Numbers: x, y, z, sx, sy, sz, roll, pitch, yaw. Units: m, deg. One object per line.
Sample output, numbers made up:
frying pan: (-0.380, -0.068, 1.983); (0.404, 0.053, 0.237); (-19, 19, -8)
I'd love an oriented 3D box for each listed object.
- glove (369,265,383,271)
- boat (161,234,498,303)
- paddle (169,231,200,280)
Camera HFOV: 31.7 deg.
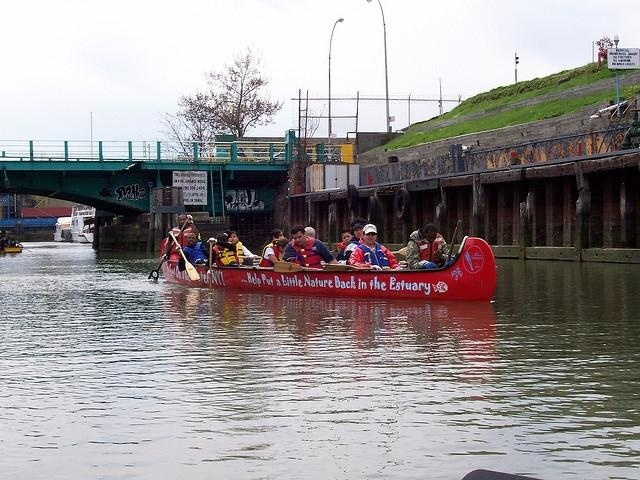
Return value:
glove: (1.188, 0.579, 23.694); (0.251, 0.112, 0.438); (0, 0, 2)
boat: (0.281, 0.639, 25.383); (2.052, 1.301, 8.342); (0, 0, -38)
paddle: (-3.628, 0.254, 29.548); (0.384, 0.234, 3.196); (-14, 29, -15)
